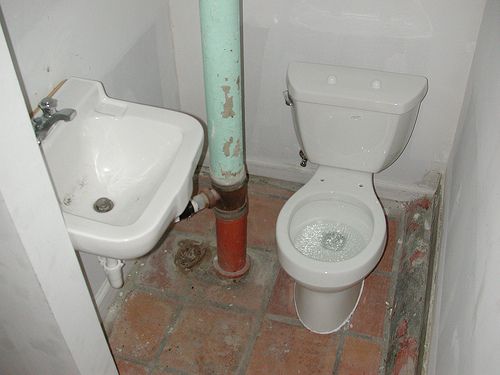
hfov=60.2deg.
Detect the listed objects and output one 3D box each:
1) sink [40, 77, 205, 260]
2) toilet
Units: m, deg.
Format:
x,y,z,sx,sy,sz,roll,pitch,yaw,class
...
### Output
x,y,z,sx,sy,sz,roll,pitch,yaw,class
-0.467,-0.079,1.466,0.527,0.279,0.614,9,48,10,sink
0.473,0.055,1.978,0.651,1.073,0.828,14,55,13,toilet
